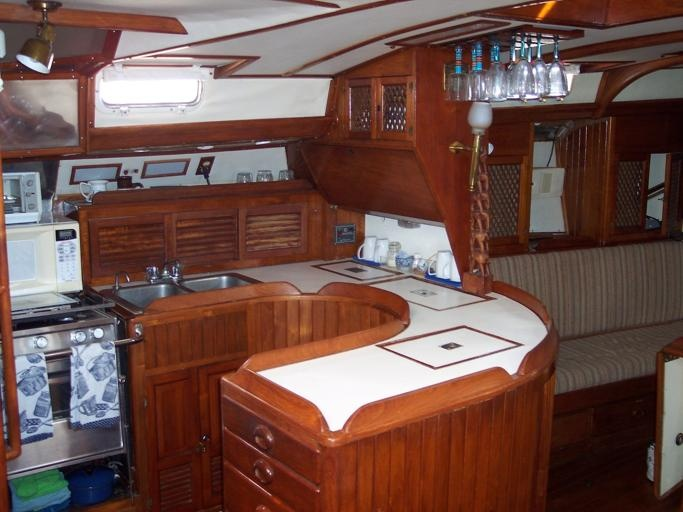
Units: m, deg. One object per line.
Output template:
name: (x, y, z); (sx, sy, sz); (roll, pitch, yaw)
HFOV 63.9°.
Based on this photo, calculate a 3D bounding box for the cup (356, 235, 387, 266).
cup: (0.250, -0.044, 4.258); (0.317, 0.230, 0.165); (-9, 22, -34)

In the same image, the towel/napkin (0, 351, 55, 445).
towel/napkin: (-1.589, 0.729, 2.832); (0.207, 0.476, 0.095); (-15, 21, -39)

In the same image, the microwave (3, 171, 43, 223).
microwave: (-1.860, -0.342, 3.193); (0.204, 0.291, 0.203); (-9, 17, -25)

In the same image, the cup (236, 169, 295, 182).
cup: (-0.578, -0.622, 4.223); (0.494, 0.086, 0.212); (-6, 13, -22)

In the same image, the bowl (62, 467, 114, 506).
bowl: (-1.417, 1.281, 3.151); (0.256, 0.161, 0.221); (2, 9, 14)

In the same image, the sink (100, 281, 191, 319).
sink: (-1.254, 0.249, 3.524); (0.306, 0.142, 0.279); (-7, 15, -32)

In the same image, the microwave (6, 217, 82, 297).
microwave: (-1.687, -0.020, 3.410); (0.707, 0.467, 0.436); (-4, 7, -26)

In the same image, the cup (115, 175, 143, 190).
cup: (-1.464, -0.514, 3.792); (0.097, 0.088, 0.189); (7, 15, 30)

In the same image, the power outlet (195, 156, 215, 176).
power outlet: (-0.991, -0.662, 3.990); (0.206, 0.117, 0.043); (-5, 46, -40)

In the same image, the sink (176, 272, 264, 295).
sink: (-0.896, 0.174, 3.822); (0.280, 0.083, 0.227); (-7, 12, -41)

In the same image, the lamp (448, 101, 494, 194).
lamp: (0.811, -0.666, 3.367); (0.225, 0.538, 0.316); (10, 19, 34)

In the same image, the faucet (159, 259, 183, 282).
faucet: (-1.172, 0.098, 3.787); (0.142, 0.119, 0.180); (-4, 15, -31)

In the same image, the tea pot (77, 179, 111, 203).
tea pot: (-1.637, -0.447, 3.732); (0.145, 0.123, 0.214); (17, 21, 36)

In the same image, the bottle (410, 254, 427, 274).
bottle: (0.567, 0.054, 3.946); (0.099, 0.132, 0.161); (-1, 6, -45)

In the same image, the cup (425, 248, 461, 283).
cup: (0.688, 0.067, 3.687); (0.169, 0.194, 0.262); (-6, 14, -30)
